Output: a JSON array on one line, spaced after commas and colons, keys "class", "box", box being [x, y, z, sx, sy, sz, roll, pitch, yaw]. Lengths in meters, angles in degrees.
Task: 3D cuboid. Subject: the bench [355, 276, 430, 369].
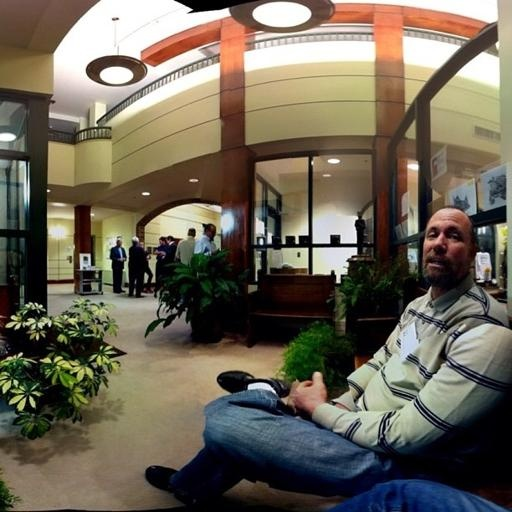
[{"class": "bench", "box": [1.149, 0.538, 3.700, 0.666, 1.122, 0.664, 0, -3, 6]}]

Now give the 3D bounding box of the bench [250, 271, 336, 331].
[{"class": "bench", "box": [0.504, 0.592, 5.108, 1.020, 0.651, 0.549, 0, 11, 21]}]

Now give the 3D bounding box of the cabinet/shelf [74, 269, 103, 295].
[{"class": "cabinet/shelf", "box": [-4.436, 0.694, 11.267, 0.750, 0.938, 1.045, 1, -2, -37]}]

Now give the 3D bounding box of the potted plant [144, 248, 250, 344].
[{"class": "potted plant", "box": [-0.771, 0.508, 5.100, 1.330, 1.040, 0.996, -8, 7, -28]}]

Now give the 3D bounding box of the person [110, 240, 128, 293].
[{"class": "person", "box": [-3.869, 0.269, 11.493, 0.416, 1.541, 1.252, 0, 0, -19]}]
